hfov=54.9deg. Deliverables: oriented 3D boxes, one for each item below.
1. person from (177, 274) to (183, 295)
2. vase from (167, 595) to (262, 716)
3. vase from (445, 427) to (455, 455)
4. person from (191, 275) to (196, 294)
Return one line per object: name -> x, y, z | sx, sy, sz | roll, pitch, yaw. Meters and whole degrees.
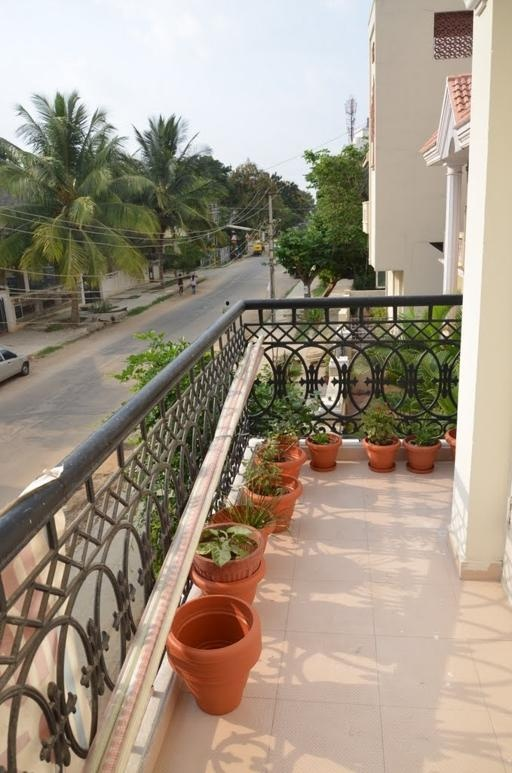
person -> -4.634, -6.243, 30.244 | 0.340, 1.127, 2.123 | -4, 11, -8
vase -> -0.144, 1.088, 1.944 | 0.355, 0.385, 0.380 | -8, 12, -21
vase -> 1.577, 0.463, 3.960 | 0.066, 0.201, 0.209 | 1, 12, 18
person -> -3.778, -6.215, 29.820 | 0.225, 1.053, 0.719 | -5, 11, -11
